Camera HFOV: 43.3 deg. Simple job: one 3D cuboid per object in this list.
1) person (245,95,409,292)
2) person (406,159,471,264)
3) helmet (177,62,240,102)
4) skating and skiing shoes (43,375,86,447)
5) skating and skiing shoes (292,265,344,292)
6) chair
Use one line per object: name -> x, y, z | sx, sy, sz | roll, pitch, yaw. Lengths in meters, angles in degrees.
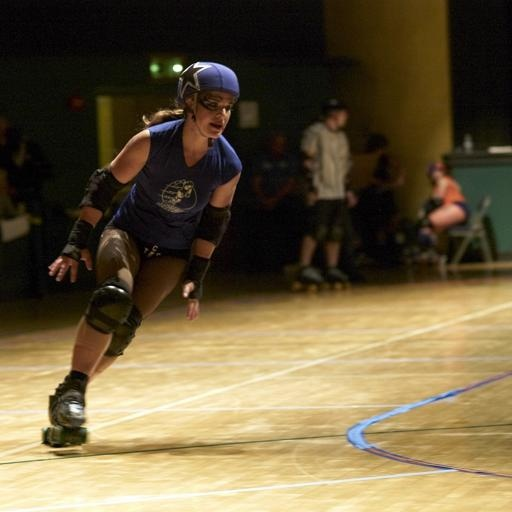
person -> 0.685, -0.679, 6.869 | 1.012, 1.880, 0.534 | -6, 16, -4
person -> 2.134, -0.581, 7.242 | 0.545, 0.923, 0.677 | -15, 16, -42
helmet -> -0.153, -0.578, 2.224 | 0.171, 0.147, 0.148 | 9, 14, 44
skating and skiing shoes -> -0.597, 0.492, 2.063 | 0.175, 0.160, 0.384 | -1, 0, -17
skating and skiing shoes -> 0.660, 0.214, 6.870 | 0.600, 0.174, 0.314 | 0, -1, -29
chair -> 2.470, -0.253, 7.286 | 0.574, 0.831, 0.450 | 0, 15, 22
